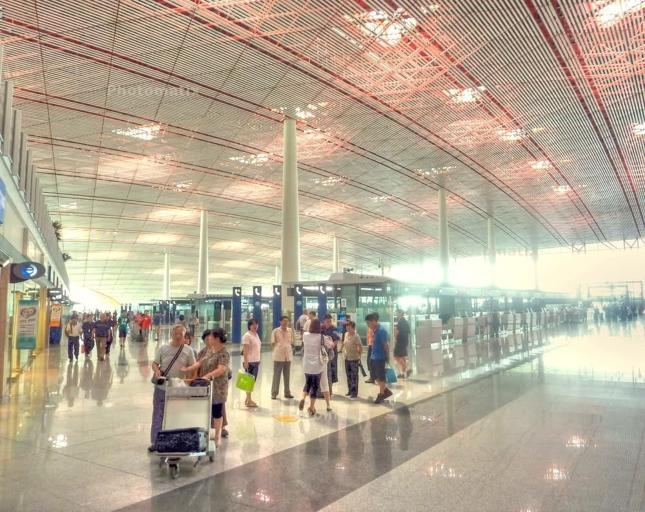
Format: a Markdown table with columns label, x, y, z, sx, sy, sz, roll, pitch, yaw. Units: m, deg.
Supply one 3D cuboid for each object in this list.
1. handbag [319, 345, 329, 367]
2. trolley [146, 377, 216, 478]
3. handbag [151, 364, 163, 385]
| label | x | y | z | sx | sy | sz | roll | pitch | yaw |
| --- | --- | --- | --- | --- | --- | --- | --- | --- | --- |
| handbag | 0.000 | 1.994 | 10.017 | 0.207 | 0.411 | 0.388 | -6 | -10 | -2 |
| trolley | -2.066 | 2.523 | 7.600 | 0.883 | 1.141 | 1.255 | 0 | -12 | 0 |
| handbag | -2.567 | 1.843 | 7.714 | 0.123 | 0.291 | 0.225 | 14 | -3 | -29 |
